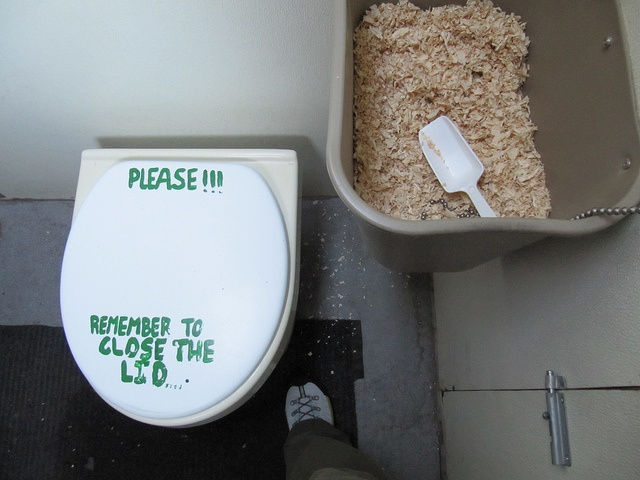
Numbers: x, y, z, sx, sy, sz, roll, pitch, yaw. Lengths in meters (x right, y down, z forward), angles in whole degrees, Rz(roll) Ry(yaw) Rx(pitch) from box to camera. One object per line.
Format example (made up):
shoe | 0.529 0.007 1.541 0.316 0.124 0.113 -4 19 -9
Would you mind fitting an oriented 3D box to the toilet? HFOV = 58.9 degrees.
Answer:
toilet | -0.333 0.108 1.550 0.500 0.516 0.662 0 87 1
